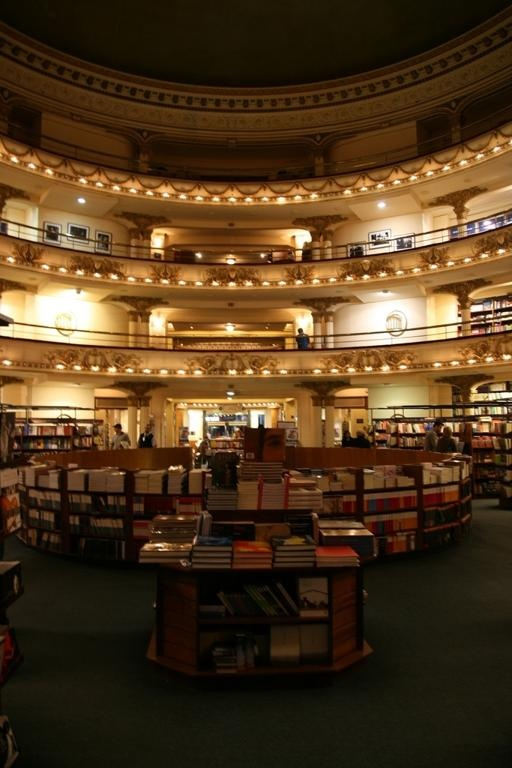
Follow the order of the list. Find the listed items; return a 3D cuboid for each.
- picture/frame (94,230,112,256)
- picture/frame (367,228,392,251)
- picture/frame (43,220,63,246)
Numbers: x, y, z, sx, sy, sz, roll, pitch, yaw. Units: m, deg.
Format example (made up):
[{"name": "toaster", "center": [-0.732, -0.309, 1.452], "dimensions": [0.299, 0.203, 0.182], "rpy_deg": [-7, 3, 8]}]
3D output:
[{"name": "picture/frame", "center": [-4.989, -4.644, 19.235], "dimensions": [0.502, 0.851, 1.018], "rpy_deg": [0, -2, -13]}, {"name": "picture/frame", "center": [4.106, -4.788, 19.528], "dimensions": [0.914, 0.851, 0.035], "rpy_deg": [-3, -23, 16]}, {"name": "picture/frame", "center": [-6.285, -4.622, 18.161], "dimensions": [0.482, 0.758, 0.540], "rpy_deg": [0, -2, -18]}]
